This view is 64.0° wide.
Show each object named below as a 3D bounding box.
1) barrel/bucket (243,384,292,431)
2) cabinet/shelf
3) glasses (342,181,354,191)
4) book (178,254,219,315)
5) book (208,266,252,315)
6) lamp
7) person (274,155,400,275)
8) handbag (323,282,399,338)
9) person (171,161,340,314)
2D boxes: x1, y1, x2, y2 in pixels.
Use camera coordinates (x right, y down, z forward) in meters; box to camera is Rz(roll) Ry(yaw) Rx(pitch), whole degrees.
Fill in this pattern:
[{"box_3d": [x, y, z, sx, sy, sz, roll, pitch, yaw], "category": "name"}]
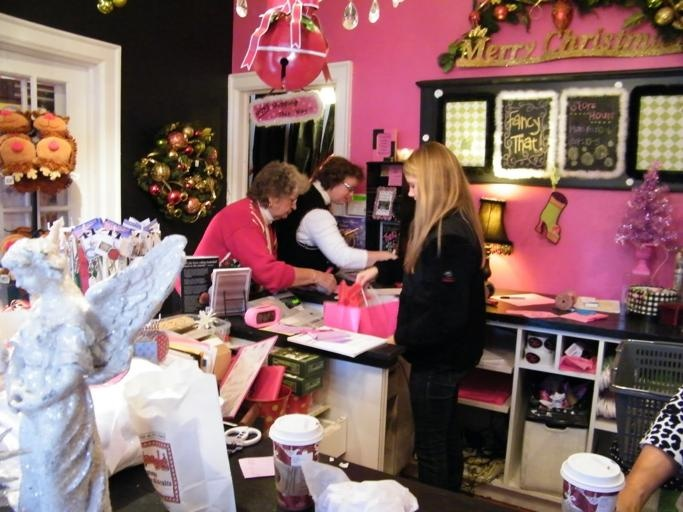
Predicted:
[{"box_3d": [-0.254, 0.522, 1.888, 0.112, 0.103, 0.128, -2, -1, -4], "category": "barrel/bucket"}, {"box_3d": [0.974, 0.753, 2.663, 0.932, 0.950, 0.317, 7, 8, 28], "category": "cabinet/shelf"}, {"box_3d": [0.046, -0.466, 3.610, 0.045, 0.016, 0.053, 8, 37, -48], "category": "glasses"}, {"box_3d": [-0.627, 0.132, 2.429, 0.192, 0.250, 0.171, 0, 7, -27], "category": "book"}, {"box_3d": [-0.523, 0.162, 2.536, 0.035, 0.226, 0.196, 20, 21, 41], "category": "book"}, {"box_3d": [1.000, -0.076, 3.718, 0.282, 0.619, 0.302, 11, 12, 36], "category": "lamp"}, {"box_3d": [-0.050, -0.260, 3.734, 0.763, 0.901, 0.660, 0, 33, -4], "category": "person"}, {"box_3d": [0.107, 0.274, 2.746, 0.220, 0.398, 0.368, 1, -8, 27], "category": "handbag"}, {"box_3d": [-0.558, -0.286, 3.347, 0.848, 1.232, 0.612, 8, 21, -22], "category": "person"}]
